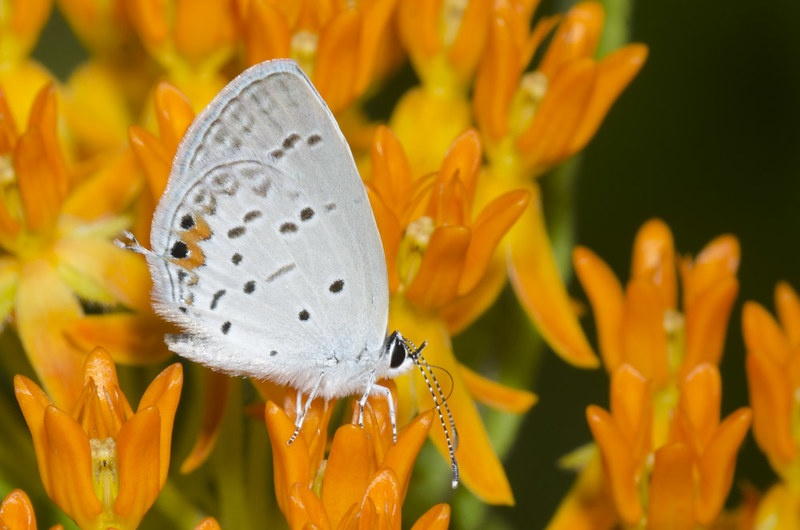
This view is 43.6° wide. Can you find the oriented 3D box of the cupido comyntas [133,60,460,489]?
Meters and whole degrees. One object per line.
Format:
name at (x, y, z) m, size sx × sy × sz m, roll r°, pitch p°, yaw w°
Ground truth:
cupido comyntas at (-0.105, -0.014, 1.128) m, size 0.394 × 0.411 × 0.284 m, roll 11°, pitch 4°, yaw 13°
